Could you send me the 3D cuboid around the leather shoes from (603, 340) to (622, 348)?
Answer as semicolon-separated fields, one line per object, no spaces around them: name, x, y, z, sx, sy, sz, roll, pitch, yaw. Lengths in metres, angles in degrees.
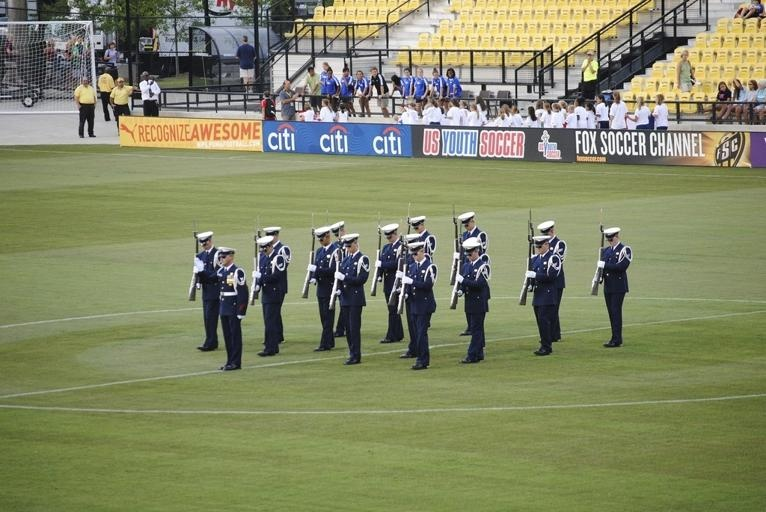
leather shoes;6.080;2.340;51.196;0.549;0.185;0.171;2;-1;0

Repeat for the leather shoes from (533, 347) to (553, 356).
leather shoes;4.210;2.517;50.813;0.538;0.193;0.179;1;7;2

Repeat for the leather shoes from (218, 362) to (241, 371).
leather shoes;-4.025;2.878;50.324;0.414;0.139;0.210;2;-3;1

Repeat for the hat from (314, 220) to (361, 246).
hat;-1.331;-0.630;52.035;1.032;0.348;0.824;-6;8;-16

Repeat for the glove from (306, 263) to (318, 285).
glove;-2.020;0.460;51.388;0.198;0.474;0.384;5;4;19

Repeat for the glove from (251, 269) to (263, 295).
glove;-3.373;0.671;51.018;0.279;0.685;0.167;4;5;-16

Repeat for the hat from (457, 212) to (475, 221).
hat;2.273;-1.043;52.702;0.382;0.097;0.326;-13;10;-12

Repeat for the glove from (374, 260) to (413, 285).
glove;0.291;0.397;51.198;1.078;0.293;0.259;27;4;9

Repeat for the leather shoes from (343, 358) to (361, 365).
leather shoes;-0.815;2.769;50.548;0.495;0.181;0.155;1;5;4

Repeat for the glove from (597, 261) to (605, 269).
glove;5.779;0.214;51.213;0.193;0.122;0.184;1;8;22

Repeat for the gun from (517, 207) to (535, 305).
gun;4.072;0.087;55.146;0.094;2.831;0.717;5;-8;25
